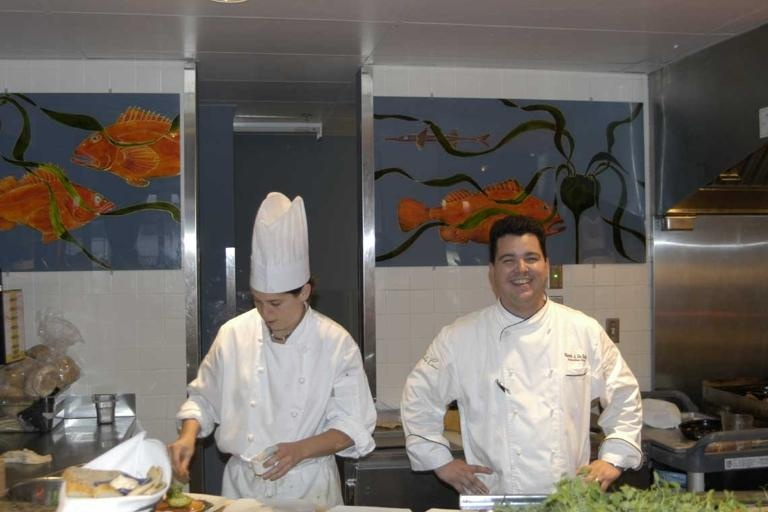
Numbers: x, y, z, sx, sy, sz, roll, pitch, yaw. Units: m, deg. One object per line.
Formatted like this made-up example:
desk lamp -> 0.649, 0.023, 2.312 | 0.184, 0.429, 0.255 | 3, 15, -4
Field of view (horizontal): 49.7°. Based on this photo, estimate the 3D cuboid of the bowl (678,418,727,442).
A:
bowl -> 1.994, 1.105, 5.218 | 0.239, 0.098, 0.463 | -2, -3, 30

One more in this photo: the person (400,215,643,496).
person -> 0.757, 0.825, 4.525 | 1.267, 1.940, 0.606 | -2, 9, 2

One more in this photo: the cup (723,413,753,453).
cup -> 2.212, 1.091, 5.155 | 0.191, 0.186, 0.409 | -2, -3, 23

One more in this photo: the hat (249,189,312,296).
hat -> -0.565, -0.086, 4.566 | 0.325, 0.524, 0.337 | 1, 5, 8

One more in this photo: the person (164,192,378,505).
person -> -0.581, 0.501, 4.405 | 1.061, 1.687, 0.466 | -1, -2, -3
